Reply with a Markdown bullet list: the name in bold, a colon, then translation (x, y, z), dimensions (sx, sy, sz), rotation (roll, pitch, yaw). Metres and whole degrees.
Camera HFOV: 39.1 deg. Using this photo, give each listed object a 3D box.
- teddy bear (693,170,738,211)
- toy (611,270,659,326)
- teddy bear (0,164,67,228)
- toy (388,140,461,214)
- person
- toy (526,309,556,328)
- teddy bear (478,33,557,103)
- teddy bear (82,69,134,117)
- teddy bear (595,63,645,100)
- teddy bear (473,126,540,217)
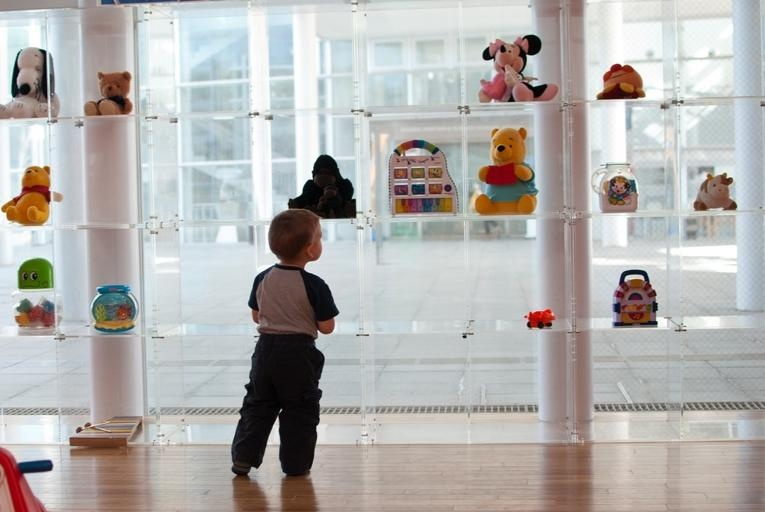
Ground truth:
- **teddy bear**: translation (2.014, -0.388, 6.520), dimensions (0.241, 0.225, 0.227), rotation (2, 12, 15)
- **toy**: translation (1.521, 0.281, 6.509), dimensions (0.252, 0.283, 0.119), rotation (-2, 12, -5)
- **teddy bear**: translation (-2.176, -0.377, 6.684), dimensions (0.354, 0.362, 0.345), rotation (-6, 13, -25)
- **toy**: translation (0.246, -0.477, 6.534), dimensions (0.405, 0.442, 0.179), rotation (-1, 12, -2)
- **person**: translation (-0.564, 0.510, 6.165), dimensions (0.367, 1.502, 0.566), rotation (9, 15, 39)
- **toy**: translation (0.974, 0.389, 6.574), dimensions (0.171, 0.089, 0.093), rotation (-2, 6, -16)
- **teddy bear**: translation (0.839, -1.156, 6.605), dimensions (0.482, 0.405, 0.309), rotation (0, 12, 7)
- **teddy bear**: translation (-1.651, -0.989, 6.703), dimensions (0.327, 0.324, 0.280), rotation (-1, -2, 14)
- **teddy bear**: translation (1.451, -1.063, 6.548), dimensions (0.284, 0.205, 0.241), rotation (2, 12, 12)
- **teddy bear**: translation (0.749, -0.515, 6.549), dimensions (0.361, 0.509, 0.216), rotation (1, 12, 9)
